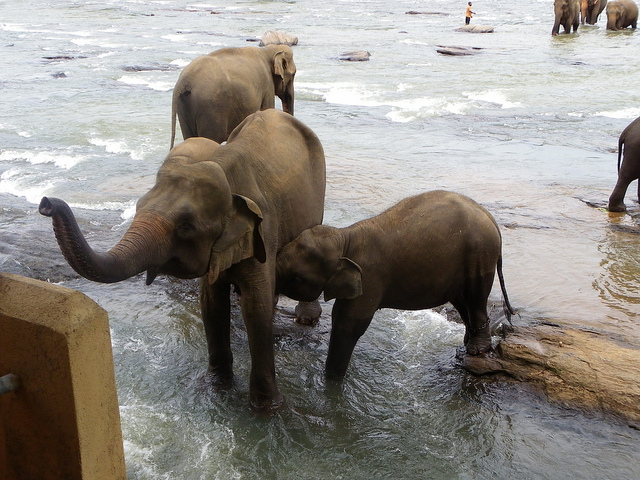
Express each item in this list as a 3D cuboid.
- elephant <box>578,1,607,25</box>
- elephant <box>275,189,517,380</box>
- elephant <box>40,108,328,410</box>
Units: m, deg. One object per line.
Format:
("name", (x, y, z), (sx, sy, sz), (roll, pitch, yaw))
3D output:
("elephant", (12.796, -10.747, 31.999), (0.988, 1.079, 1.791), (11, 20, 18))
("elephant", (0.475, 0.309, 4.864), (2.217, 1.144, 0.632), (-4, 16, -15))
("elephant", (-0.620, 0.185, 4.262), (0.852, 1.820, 2.187), (8, 19, 11))
